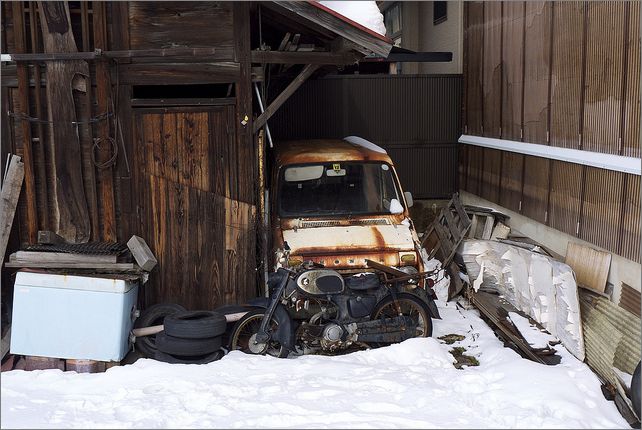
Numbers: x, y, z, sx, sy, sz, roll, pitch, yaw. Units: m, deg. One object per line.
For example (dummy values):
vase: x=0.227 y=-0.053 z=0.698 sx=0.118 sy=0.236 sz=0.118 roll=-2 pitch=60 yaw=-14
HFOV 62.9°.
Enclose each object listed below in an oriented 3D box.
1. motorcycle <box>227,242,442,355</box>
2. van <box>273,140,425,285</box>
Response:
motorcycle: x=0.241 y=1.393 z=8.431 sx=3.149 sy=1.963 sz=1.351 roll=-2 pitch=-9 yaw=-2
van: x=0.327 y=-0.201 z=8.577 sx=1.443 sy=1.569 sz=2.623 roll=-2 pitch=11 yaw=-5
